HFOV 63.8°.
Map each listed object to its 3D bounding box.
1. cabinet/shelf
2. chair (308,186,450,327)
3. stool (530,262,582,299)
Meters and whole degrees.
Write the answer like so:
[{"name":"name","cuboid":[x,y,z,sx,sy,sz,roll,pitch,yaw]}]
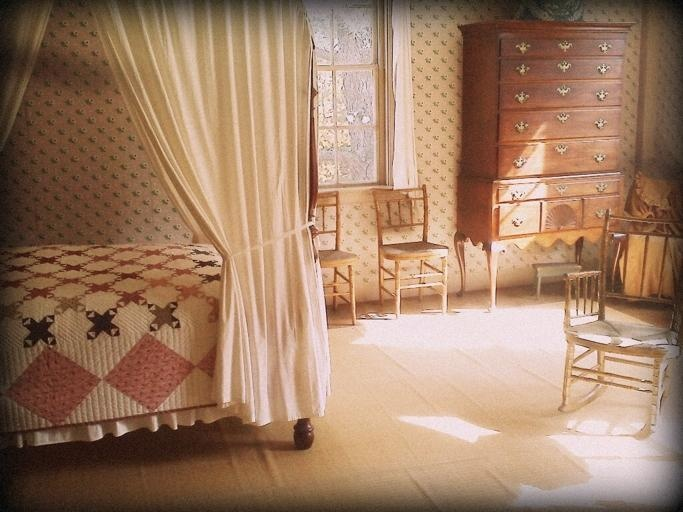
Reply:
[{"name":"cabinet/shelf","cuboid":[1.744,-0.813,4.808,1.470,2.431,0.508,-6,10,-8]},{"name":"chair","cuboid":[0.282,-0.006,4.654,1.296,0.910,0.502,-5,14,-18]},{"name":"stool","cuboid":[1.882,0.218,4.870,0.380,0.217,0.199,-2,7,-7]}]
